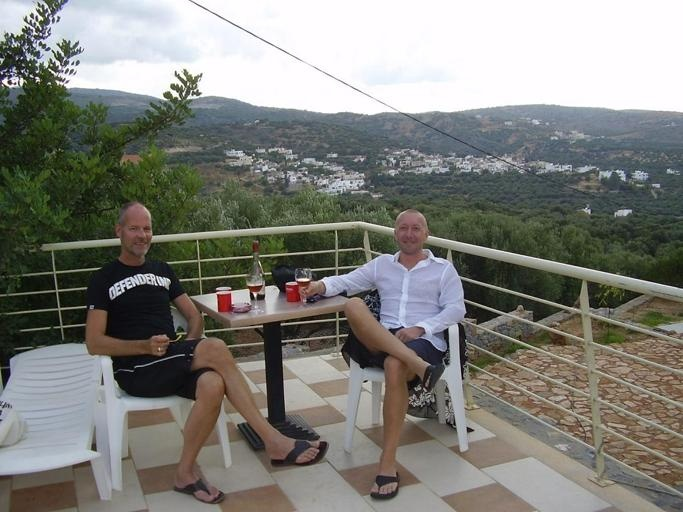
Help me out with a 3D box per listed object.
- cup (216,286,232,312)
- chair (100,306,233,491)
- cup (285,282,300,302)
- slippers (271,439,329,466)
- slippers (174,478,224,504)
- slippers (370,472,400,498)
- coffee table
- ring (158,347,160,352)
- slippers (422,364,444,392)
[{"bbox_3d":[-0.761,0.266,3.128,0.147,0.156,0.137,1,14,0],"label":"cup"},{"bbox_3d":[-1.166,0.828,3.267,0.711,0.920,1.072,-4,11,-18],"label":"chair"},{"bbox_3d":[-0.330,0.242,3.343,0.119,0.123,0.119,1,15,0],"label":"cup"},{"bbox_3d":[-0.272,1.233,3.029,0.324,0.075,0.158,-6,27,-8],"label":"slippers"},{"bbox_3d":[-0.798,1.322,2.734,0.247,0.081,0.108,8,7,24],"label":"slippers"},{"bbox_3d":[0.254,1.312,2.758,0.187,0.101,0.124,-2,11,-6],"label":"slippers"},{"bbox_3d":[-0.487,0.761,3.572,1.048,1.009,1.030,-6,13,-23],"label":"coffee table"},{"bbox_3d":[-1.046,0.531,2.749,0.019,0.027,0.005,-4,12,-17],"label":"ring"},{"bbox_3d":[0.529,0.690,2.805,0.053,0.167,0.093,22,14,12],"label":"slippers"}]
